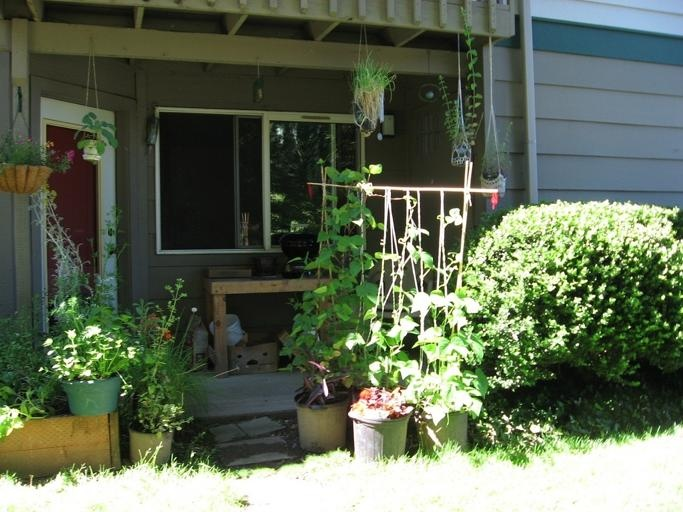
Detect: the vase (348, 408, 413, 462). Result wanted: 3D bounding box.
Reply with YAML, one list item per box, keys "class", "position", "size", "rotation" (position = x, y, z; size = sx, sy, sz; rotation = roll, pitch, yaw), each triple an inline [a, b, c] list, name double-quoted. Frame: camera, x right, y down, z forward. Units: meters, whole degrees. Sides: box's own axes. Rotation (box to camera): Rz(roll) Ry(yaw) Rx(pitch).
- class: "vase"
  position: [0.227, 1.090, 3.985]
  size: [0.300, 0.250, 0.299]
  rotation: [0, 2, 35]

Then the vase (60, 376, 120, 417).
- class: "vase"
  position: [-1.489, 0.800, 3.844]
  size: [0.247, 0.170, 0.250]
  rotation: [1, 0, -39]

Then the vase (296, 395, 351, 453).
- class: "vase"
  position: [-0.116, 1.096, 4.253]
  size: [0.301, 0.256, 0.308]
  rotation: [-1, 0, 24]

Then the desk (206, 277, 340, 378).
- class: "desk"
  position: [-0.842, 0.475, 6.199]
  size: [1.045, 0.896, 0.866]
  rotation: [-1, 1, -17]

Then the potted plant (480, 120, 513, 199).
- class: "potted plant"
  position: [1.415, -0.867, 5.750]
  size: [0.214, 0.682, 0.415]
  rotation: [8, 13, 40]

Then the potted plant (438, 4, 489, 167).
- class: "potted plant"
  position: [1.069, -1.436, 5.698]
  size: [0.383, 1.299, 1.221]
  rotation: [1, 10, 6]

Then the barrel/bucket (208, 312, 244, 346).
- class: "barrel/bucket"
  position: [-1.067, 0.669, 6.138]
  size: [0.314, 0.258, 0.257]
  rotation: [1, 14, 44]

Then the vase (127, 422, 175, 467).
- class: "vase"
  position: [-1.171, 1.177, 4.025]
  size: [0.210, 0.178, 0.224]
  rotation: [2, -3, 4]

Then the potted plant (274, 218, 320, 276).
- class: "potted plant"
  position: [-0.436, -0.075, 6.243]
  size: [0.434, 0.527, 0.463]
  rotation: [-2, -2, 19]
